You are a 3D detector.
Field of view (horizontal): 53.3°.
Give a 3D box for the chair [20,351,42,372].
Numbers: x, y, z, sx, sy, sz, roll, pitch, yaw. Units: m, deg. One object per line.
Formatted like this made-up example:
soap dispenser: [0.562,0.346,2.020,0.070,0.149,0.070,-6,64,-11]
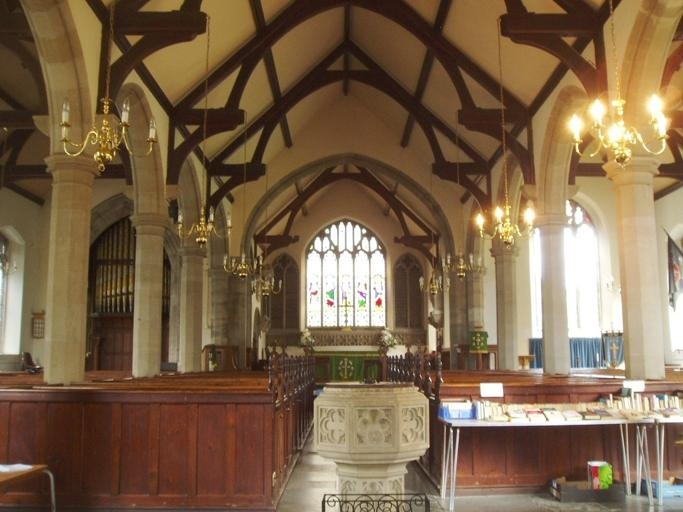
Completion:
chair: [-7.744,2.648,17.002,0.430,0.583,1.502,4,-15,-26]
